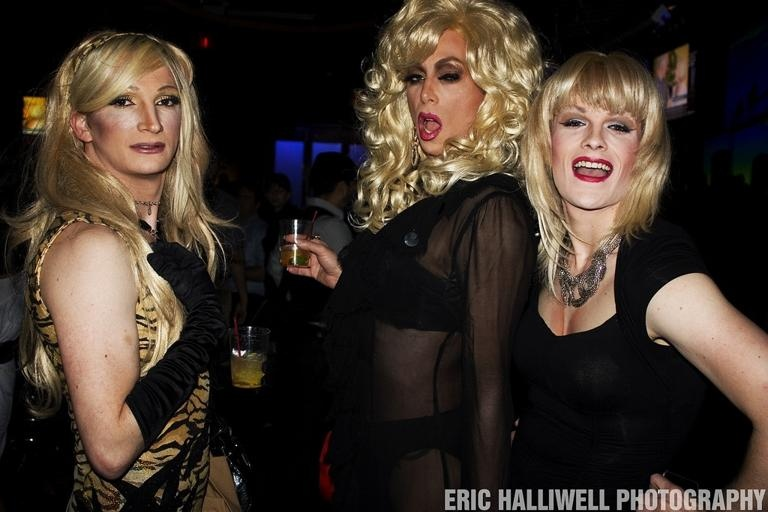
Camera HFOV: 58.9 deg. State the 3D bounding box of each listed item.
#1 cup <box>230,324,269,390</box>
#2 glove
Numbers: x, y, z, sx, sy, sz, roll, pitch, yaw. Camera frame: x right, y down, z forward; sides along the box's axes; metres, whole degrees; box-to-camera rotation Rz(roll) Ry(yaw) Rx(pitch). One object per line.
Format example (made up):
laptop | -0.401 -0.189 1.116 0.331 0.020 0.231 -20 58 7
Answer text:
cup | -0.885 0.668 4.458 0.238 0.409 0.175 1 2 -12
glove | -0.988 0.408 3.271 0.414 0.925 0.367 1 2 -11
